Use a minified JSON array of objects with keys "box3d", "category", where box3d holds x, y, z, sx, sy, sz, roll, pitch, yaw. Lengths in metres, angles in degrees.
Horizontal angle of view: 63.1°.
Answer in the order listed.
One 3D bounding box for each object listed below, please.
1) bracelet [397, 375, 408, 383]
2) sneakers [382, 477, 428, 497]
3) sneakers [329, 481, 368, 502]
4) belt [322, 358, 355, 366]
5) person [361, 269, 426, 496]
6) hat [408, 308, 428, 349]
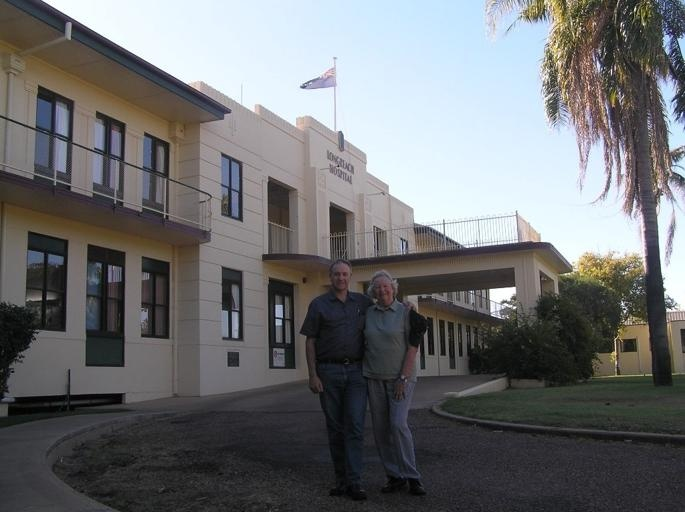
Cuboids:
[{"box3d":[0.609,1.232,5.608,0.088,0.074,0.044,-3,-11,5],"category":"bracelet"},{"box3d":[0.626,2.284,5.551,0.481,0.262,0.177,-4,-1,4],"category":"sneakers"},{"box3d":[0.064,2.258,5.483,0.414,0.208,0.151,0,-10,30],"category":"sneakers"},{"box3d":[-0.046,1.091,5.765,0.316,0.075,0.079,0,-11,-10],"category":"belt"},{"box3d":[0.540,1.398,5.694,0.642,1.942,0.284,-3,-10,9],"category":"person"},{"box3d":[0.793,0.734,5.775,0.200,0.413,0.315,-6,-12,21],"category":"hat"}]
